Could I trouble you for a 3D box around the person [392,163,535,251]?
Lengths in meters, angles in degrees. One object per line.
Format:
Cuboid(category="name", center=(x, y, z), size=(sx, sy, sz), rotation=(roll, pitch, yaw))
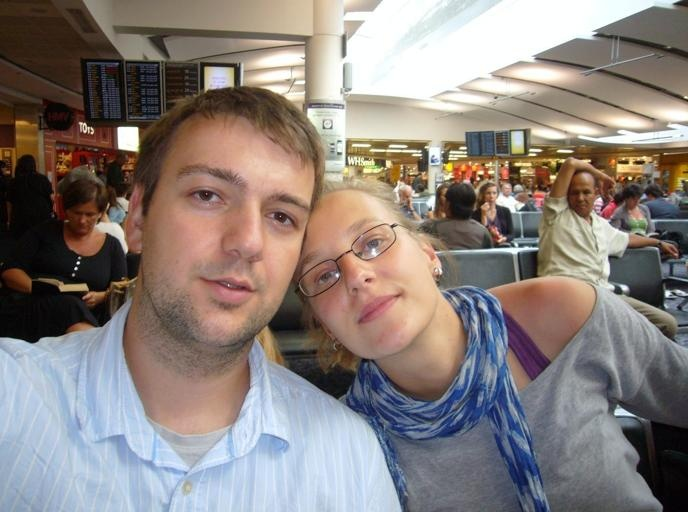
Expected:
Cuboid(category="person", center=(1.626, -0.397, 6.031), size=(1.717, 0.818, 1.057), rotation=(-2, -1, -35))
